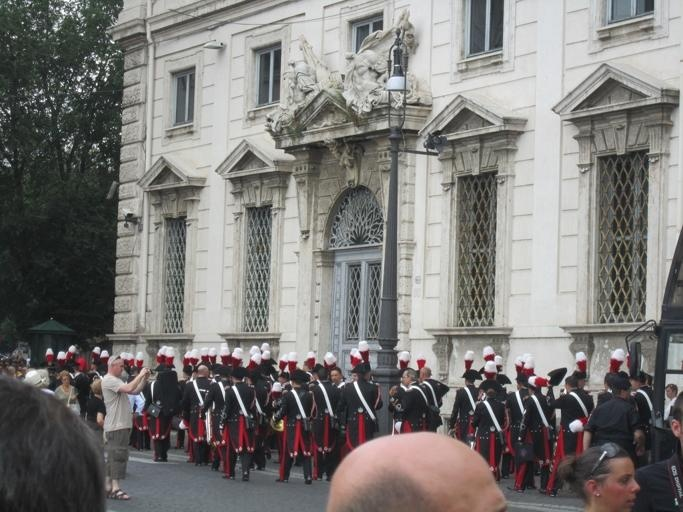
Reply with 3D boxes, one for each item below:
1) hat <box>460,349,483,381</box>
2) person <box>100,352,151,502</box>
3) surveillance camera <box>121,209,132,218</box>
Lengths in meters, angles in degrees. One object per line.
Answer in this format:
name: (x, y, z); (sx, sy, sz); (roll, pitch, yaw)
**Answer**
hat: (2.897, 2.424, 34.814); (0.600, 0.616, 0.586); (-2, -3, 13)
person: (-4.182, 3.275, 29.999); (1.029, 2.659, 0.651); (-6, -9, 39)
surveillance camera: (-6.110, -1.185, 45.061); (0.257, 0.135, 0.363); (11, -10, -36)
